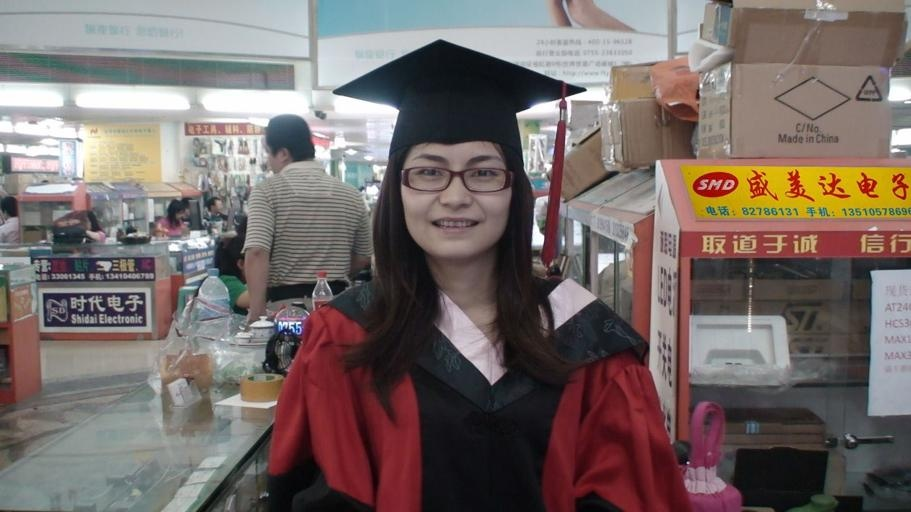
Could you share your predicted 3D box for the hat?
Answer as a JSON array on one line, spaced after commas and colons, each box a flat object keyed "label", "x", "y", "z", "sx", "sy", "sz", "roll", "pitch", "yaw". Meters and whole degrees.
[{"label": "hat", "x": 0.023, "y": -0.681, "z": 3.139, "sx": 0.708, "sy": 0.271, "sz": 0.685, "roll": -1, "pitch": 0, "yaw": -21}]

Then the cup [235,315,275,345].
[{"label": "cup", "x": -1.073, "y": 0.413, "z": 3.951, "sx": 0.154, "sy": 0.085, "sz": 0.200, "roll": 1, "pitch": 0, "yaw": 7}]

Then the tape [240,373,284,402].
[{"label": "tape", "x": -0.981, "y": 0.667, "z": 3.638, "sx": 0.197, "sy": 0.074, "sz": 0.192, "roll": 2, "pitch": 3, "yaw": 28}]

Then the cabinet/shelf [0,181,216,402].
[{"label": "cabinet/shelf", "x": -3.799, "y": 0.362, "z": 7.675, "sx": 2.753, "sy": 2.357, "sz": 1.802, "roll": -1, "pitch": 0, "yaw": -9}]
